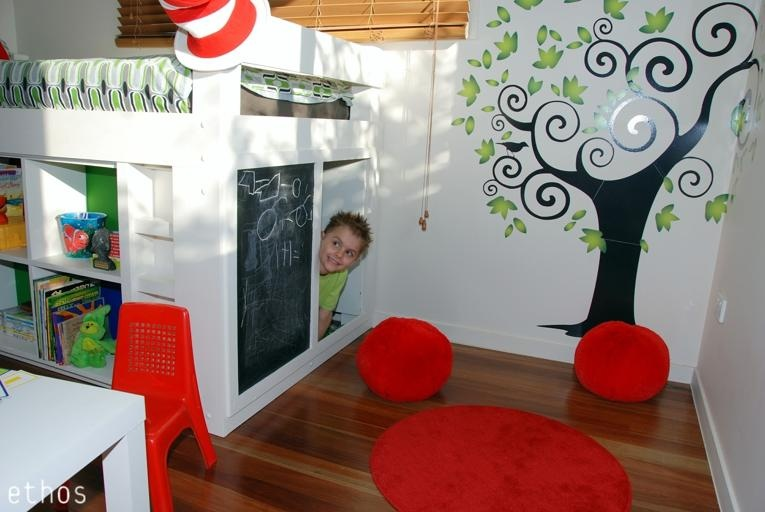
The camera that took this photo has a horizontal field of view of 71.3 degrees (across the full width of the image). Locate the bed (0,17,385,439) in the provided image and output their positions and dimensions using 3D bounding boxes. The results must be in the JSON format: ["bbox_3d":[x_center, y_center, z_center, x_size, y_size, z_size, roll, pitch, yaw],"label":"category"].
[{"bbox_3d":[-1.073,-0.120,3.097,1.883,1.829,1.158,3,14,0],"label":"bed"}]

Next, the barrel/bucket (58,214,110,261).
[{"bbox_3d":[-1.820,-0.106,3.228,0.261,0.237,0.240,0,0,0],"label":"barrel/bucket"}]

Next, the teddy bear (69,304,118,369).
[{"bbox_3d":[-1.693,0.471,3.138,0.225,0.326,0.229,10,9,-1],"label":"teddy bear"}]
